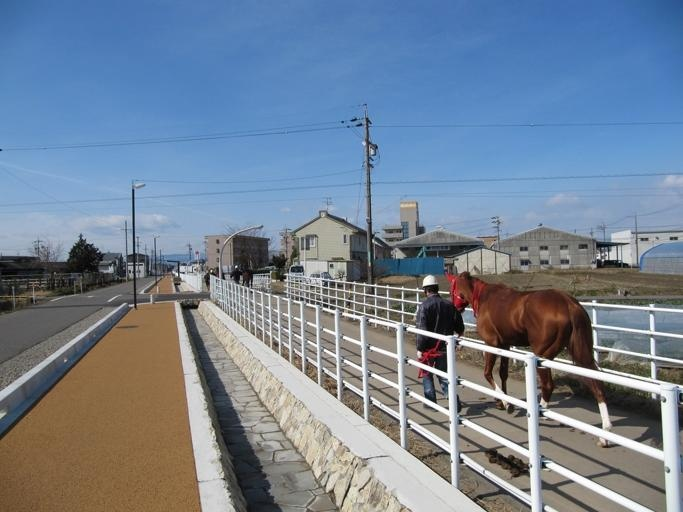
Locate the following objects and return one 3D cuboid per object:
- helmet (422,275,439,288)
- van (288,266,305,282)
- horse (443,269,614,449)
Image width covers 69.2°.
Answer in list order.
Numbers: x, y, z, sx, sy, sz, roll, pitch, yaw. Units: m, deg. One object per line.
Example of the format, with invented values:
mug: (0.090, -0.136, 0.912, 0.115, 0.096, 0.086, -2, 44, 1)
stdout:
helmet: (1.440, 0.426, 8.214, 0.208, 0.158, 0.284, 0, -8, -2)
van: (-2.869, 1.266, 31.842, 1.007, 1.080, 2.248, 1, 0, -5)
horse: (2.697, 1.430, 7.733, 0.746, 2.197, 2.993, 1, -4, -27)
